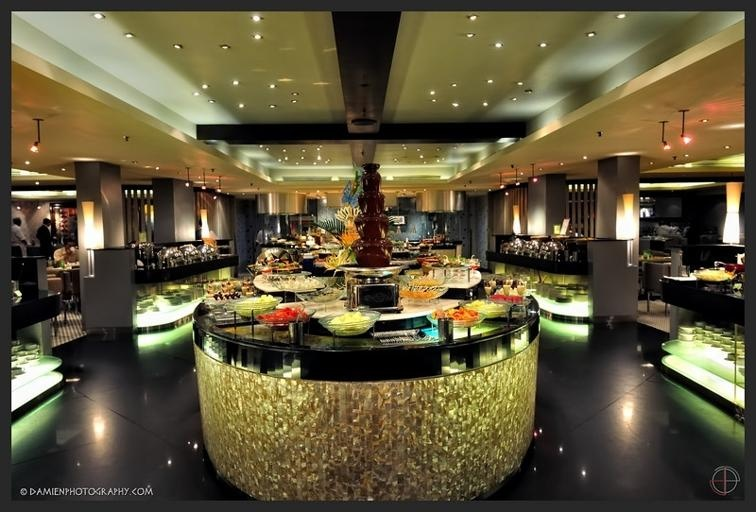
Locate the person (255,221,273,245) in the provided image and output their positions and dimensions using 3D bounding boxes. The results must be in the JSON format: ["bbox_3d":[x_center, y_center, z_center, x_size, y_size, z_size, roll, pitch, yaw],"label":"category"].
[{"bbox_3d":[-4.668,-0.941,19.627,0.715,0.922,2.135,-4,8,-16],"label":"person"}]

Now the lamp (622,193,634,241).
[{"bbox_3d":[5.069,-0.813,9.524,0.194,0.851,0.333,1,9,21],"label":"lamp"}]

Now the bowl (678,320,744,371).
[{"bbox_3d":[4.233,1.045,5.946,0.967,0.266,0.714,-4,4,-10],"label":"bowl"}]

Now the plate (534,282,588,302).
[{"bbox_3d":[3.632,0.685,9.387,0.310,0.382,1.212,-7,9,-32],"label":"plate"}]

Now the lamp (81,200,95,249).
[{"bbox_3d":[-5.510,-0.599,9.042,0.242,0.905,1.022,-7,9,-31],"label":"lamp"}]
